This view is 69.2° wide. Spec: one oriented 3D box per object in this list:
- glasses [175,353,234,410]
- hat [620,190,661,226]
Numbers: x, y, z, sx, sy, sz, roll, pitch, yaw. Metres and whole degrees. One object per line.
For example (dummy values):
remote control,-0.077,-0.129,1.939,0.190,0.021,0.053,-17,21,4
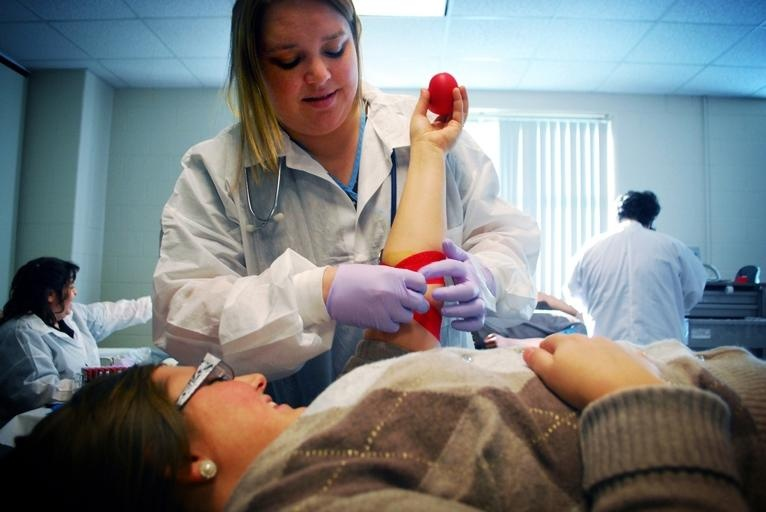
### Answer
glasses,-0.722,0.510,2.329,0.137,0.239,0.107,38,-14,34
hat,1.980,-0.367,4.271,0.258,0.292,0.156,4,-11,14
